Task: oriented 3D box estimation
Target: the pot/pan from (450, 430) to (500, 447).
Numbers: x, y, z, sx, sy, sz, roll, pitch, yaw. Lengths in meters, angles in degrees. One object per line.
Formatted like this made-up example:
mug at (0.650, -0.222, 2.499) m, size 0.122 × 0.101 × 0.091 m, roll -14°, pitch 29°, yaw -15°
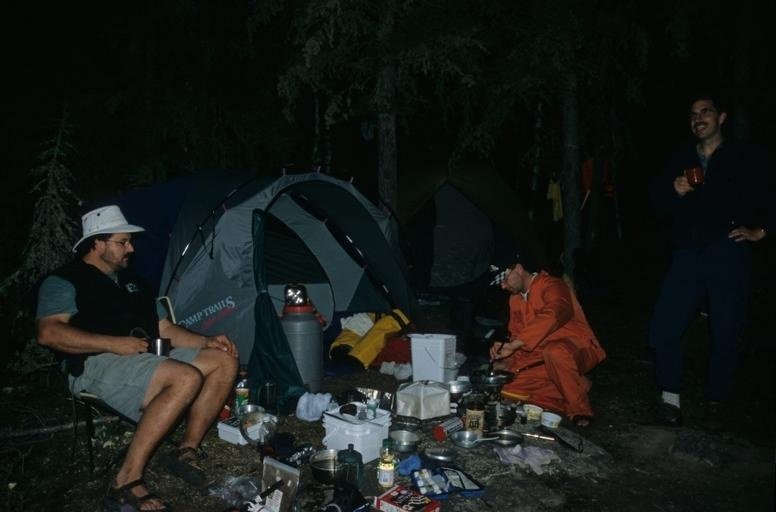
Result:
pot/pan at (0.998, 2.146, 7.129) m, size 0.382 × 0.098 × 0.229 m, roll 1°, pitch 4°, yaw 24°

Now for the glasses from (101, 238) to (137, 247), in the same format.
glasses at (-3.022, -0.146, 6.822) m, size 0.220 × 0.061 × 0.211 m, roll 3°, pitch 1°, yaw 17°

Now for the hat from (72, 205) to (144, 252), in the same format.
hat at (-3.101, -0.373, 6.793) m, size 0.671 × 0.304 × 0.541 m, roll -14°, pitch 7°, yaw 0°

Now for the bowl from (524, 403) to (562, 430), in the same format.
bowl at (1.905, 1.993, 7.574) m, size 0.309 × 0.107 × 0.292 m, roll 20°, pitch 1°, yaw 0°

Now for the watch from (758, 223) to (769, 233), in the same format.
watch at (4.544, -0.342, 7.341) m, size 0.116 × 0.113 × 0.051 m, roll 28°, pitch 15°, yaw 4°

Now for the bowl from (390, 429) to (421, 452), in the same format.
bowl at (0.174, 2.129, 7.017) m, size 0.321 × 0.209 × 0.282 m, roll 2°, pitch -3°, yaw 35°

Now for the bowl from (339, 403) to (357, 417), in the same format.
bowl at (-0.444, 1.778, 7.046) m, size 0.213 × 0.129 × 0.177 m, roll 4°, pitch -2°, yaw -4°

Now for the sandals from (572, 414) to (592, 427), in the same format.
sandals at (2.426, 2.040, 7.540) m, size 0.151 × 0.075 × 0.197 m, roll 0°, pitch -4°, yaw 11°
